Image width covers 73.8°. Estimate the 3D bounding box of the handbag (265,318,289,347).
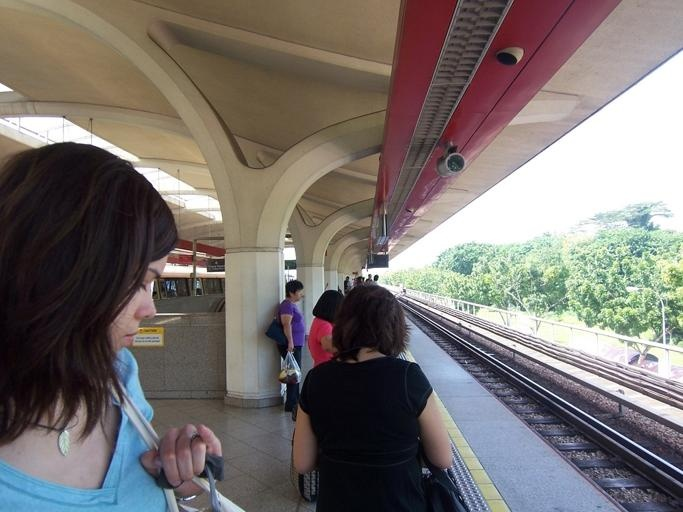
[{"bbox_3d":[-0.998,1.174,6.962,0.368,0.381,0.153,27,10,6],"label":"handbag"}]
